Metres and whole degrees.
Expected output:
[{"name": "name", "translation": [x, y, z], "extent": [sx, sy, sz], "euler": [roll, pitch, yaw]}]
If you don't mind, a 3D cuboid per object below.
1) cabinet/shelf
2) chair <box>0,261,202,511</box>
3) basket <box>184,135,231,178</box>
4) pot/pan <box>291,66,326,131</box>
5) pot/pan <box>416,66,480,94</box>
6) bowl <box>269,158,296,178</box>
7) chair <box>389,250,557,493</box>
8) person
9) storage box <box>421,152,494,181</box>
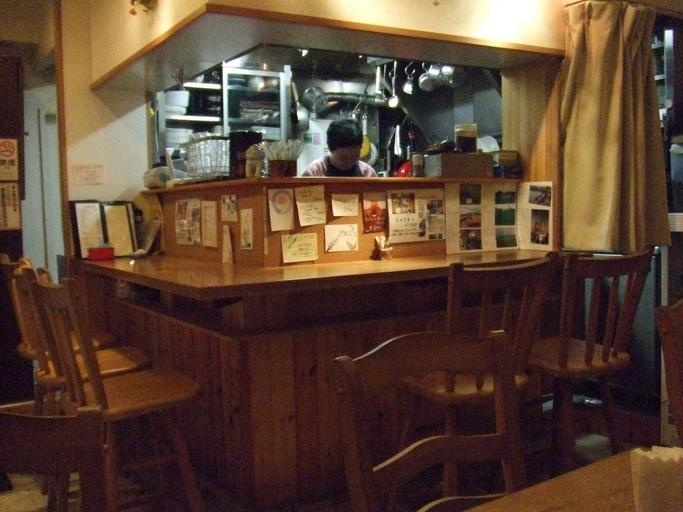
[{"name": "cabinet/shelf", "translation": [-0.855, -0.985, 4.239], "extent": [1.055, 1.088, 0.352], "euler": [-4, 5, -30]}, {"name": "chair", "translation": [-1.084, 0.477, 2.969], "extent": [0.931, 1.577, 0.809], "euler": [-5, 10, -30]}, {"name": "basket", "translation": [-0.760, -0.559, 3.427], "extent": [0.334, 0.230, 0.114], "euler": [5, 12, 39]}, {"name": "pot/pan", "translation": [-0.303, -1.405, 5.353], "extent": [0.162, 0.223, 0.468], "euler": [16, 2, 15]}, {"name": "pot/pan", "translation": [0.991, -1.647, 5.689], "extent": [0.491, 0.350, 0.200], "euler": [-9, 16, -20]}, {"name": "bowl", "translation": [-0.274, -0.416, 2.884], "extent": [0.098, 0.075, 0.080], "euler": [0, 5, -22]}, {"name": "chair", "translation": [0.537, 0.488, 2.645], "extent": [0.665, 1.020, 0.676], "euler": [-8, 9, -41]}, {"name": "person", "translation": [-0.045, -0.708, 4.064], "extent": [0.384, 0.385, 0.902], "euler": [-2, 10, 0]}, {"name": "storage box", "translation": [0.698, -0.526, 3.540], "extent": [0.424, 0.154, 0.175], "euler": [-6, 10, -19]}]
